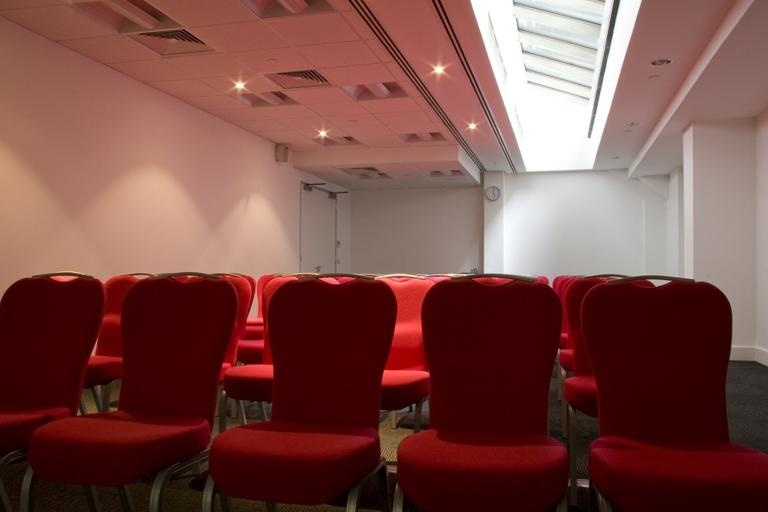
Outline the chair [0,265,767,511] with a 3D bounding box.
[{"bbox_3d":[0.095,0.757,2.598,3.453,1.329,0.655,1,-2,8],"label":"chair"}]
